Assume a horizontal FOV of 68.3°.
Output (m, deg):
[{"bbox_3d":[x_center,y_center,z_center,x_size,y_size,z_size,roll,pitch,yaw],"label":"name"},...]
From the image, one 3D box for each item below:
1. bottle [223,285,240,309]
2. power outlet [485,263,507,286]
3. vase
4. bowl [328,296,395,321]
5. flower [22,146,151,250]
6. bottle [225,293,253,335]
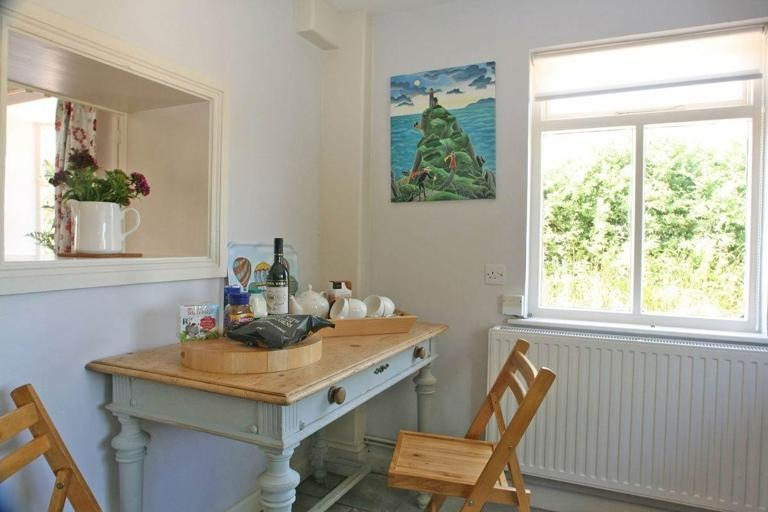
[{"bbox_3d":[-0.708,0.181,2.599,0.106,0.113,0.106,2,0,-7],"label":"bottle"},{"bbox_3d":[0.661,0.105,3.304,0.122,0.128,0.017,3,1,23],"label":"power outlet"},{"bbox_3d":[-1.306,-0.117,2.597,0.327,0.237,0.212,4,-4,-31],"label":"vase"},{"bbox_3d":[-0.121,0.280,3.065,0.244,0.106,0.151,-10,2,-3],"label":"bowl"},{"bbox_3d":[-1.291,-0.226,2.604,0.442,0.448,0.447,0,-3,20],"label":"flower"},{"bbox_3d":[-0.678,0.286,2.574,0.134,0.238,0.138,-2,2,0],"label":"bottle"}]
